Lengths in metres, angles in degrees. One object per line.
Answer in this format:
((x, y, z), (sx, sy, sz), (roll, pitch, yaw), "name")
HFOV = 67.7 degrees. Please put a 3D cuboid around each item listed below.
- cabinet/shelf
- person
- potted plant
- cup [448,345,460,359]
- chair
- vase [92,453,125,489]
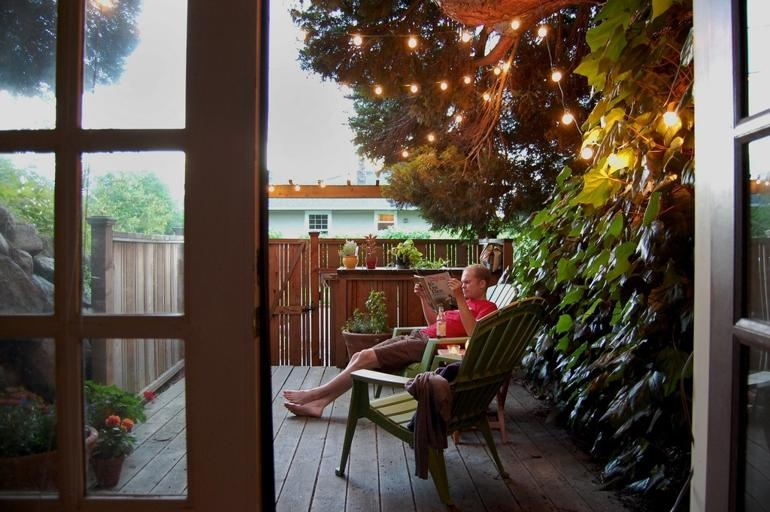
((0.212, 0.447, 4.053), (1.246, 0.769, 0.554), (-10, 3, -9), "cabinet/shelf")
((0.053, 0.613, 4.153), (1.488, 0.969, 0.830), (-2, -5, -13), "person")
((0.081, -0.006, 6.296), (1.294, 0.526, 0.462), (-1, 6, -5), "potted plant")
((0.424, 0.573, 3.448), (0.056, 0.040, 0.060), (0, 3, 0), "cup")
((0.406, 0.665, 3.288), (1.107, 1.118, 0.871), (-2, -3, 42), "chair")
((-0.873, 0.679, 1.815), (0.089, 0.087, 0.097), (2, -4, -11), "vase")
